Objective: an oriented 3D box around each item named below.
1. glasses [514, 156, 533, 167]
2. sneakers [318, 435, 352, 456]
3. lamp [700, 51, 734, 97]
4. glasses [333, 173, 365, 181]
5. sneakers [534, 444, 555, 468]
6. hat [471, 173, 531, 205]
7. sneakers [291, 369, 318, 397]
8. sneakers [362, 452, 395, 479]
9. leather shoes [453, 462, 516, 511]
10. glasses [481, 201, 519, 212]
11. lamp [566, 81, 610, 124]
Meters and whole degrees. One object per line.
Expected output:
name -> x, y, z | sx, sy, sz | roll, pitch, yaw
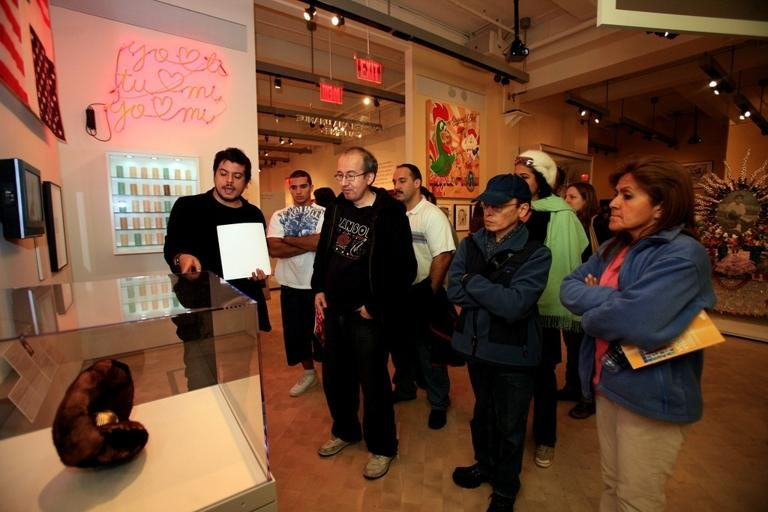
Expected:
glasses -> 1.125, -0.750, 3.868 | 0.102, 0.034, 0.103 | 11, -22, 46
sneakers -> -0.385, 1.477, 3.798 | 0.295, 0.111, 0.105 | 3, 5, -36
lamp -> 5.187, -2.854, 7.599 | 1.004, 0.188, 0.164 | 16, 1, -43
glasses -> -0.247, -0.556, 3.474 | 0.201, 0.065, 0.055 | -2, 6, 10
sneakers -> 1.203, 1.509, 3.670 | 0.155, 0.143, 0.116 | -3, 6, 7
hat -> 0.792, -0.437, 3.270 | 0.307, 0.162, 0.208 | 0, 12, -14
sneakers -> -0.806, 1.210, 4.578 | 0.121, 0.194, 0.345 | -5, 1, 45
sneakers -> -0.048, 1.551, 3.580 | 0.109, 0.099, 0.257 | -6, -12, 30
leather shoes -> 0.701, 1.610, 3.395 | 0.233, 0.241, 0.448 | -8, 7, -32
glasses -> 0.786, -0.331, 3.274 | 0.133, 0.050, 0.101 | -4, 16, -13
lamp -> 3.818, -2.718, 9.025 | 0.568, 0.424, 2.684 | 0, 7, 28
